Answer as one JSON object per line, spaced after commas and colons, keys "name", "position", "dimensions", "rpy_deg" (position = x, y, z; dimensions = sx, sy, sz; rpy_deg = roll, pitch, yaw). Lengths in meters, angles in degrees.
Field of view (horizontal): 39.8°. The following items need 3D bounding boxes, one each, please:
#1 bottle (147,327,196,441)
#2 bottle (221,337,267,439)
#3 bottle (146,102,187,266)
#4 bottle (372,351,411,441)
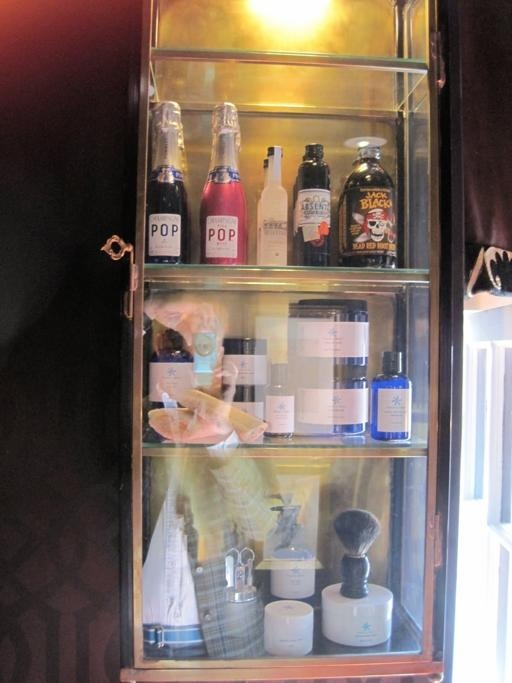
{"name": "bottle", "position": [-0.121, 0.036, 0.982], "dimensions": [0.072, 0.108, 0.021], "rpy_deg": [-5, 6, -33]}
{"name": "bottle", "position": [-0.017, 0.054, 1.017], "dimensions": [0.064, 0.118, 0.031], "rpy_deg": [-2, 5, 0]}
{"name": "bottle", "position": [-0.121, -0.227, 1.016], "dimensions": [0.037, 0.229, 0.102], "rpy_deg": [1, 5, 24]}
{"name": "bottle", "position": [0.195, 0.079, 1.025], "dimensions": [0.058, 0.123, 0.040], "rpy_deg": [-1, 5, 9]}
